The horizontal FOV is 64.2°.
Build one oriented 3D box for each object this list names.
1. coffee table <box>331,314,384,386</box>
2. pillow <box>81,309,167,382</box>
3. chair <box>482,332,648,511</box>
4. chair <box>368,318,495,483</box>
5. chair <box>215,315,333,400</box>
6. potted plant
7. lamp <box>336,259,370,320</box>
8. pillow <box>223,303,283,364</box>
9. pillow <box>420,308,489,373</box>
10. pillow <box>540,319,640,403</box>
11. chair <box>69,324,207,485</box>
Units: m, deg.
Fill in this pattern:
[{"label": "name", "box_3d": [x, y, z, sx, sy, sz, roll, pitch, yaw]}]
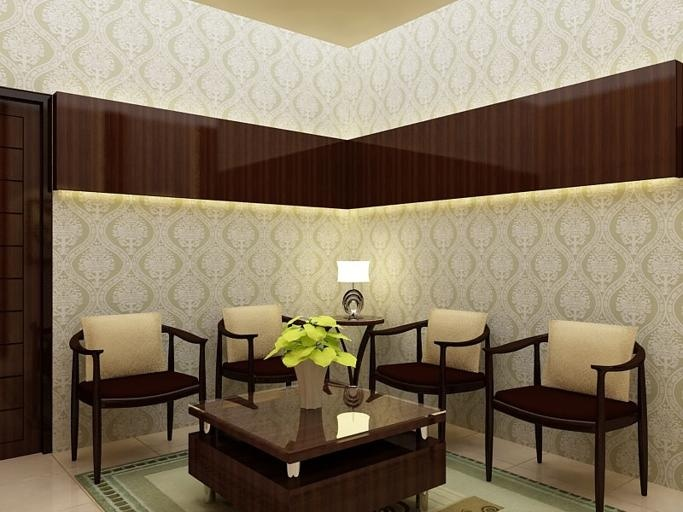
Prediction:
[{"label": "coffee table", "box_3d": [0.115, 1.005, 5.913, 0.722, 0.845, 0.748, 5, -6, -19]}, {"label": "pillow", "box_3d": [-1.985, 0.818, 4.915, 0.592, 0.515, 0.195, -1, -13, -33]}, {"label": "chair", "box_3d": [1.836, 1.225, 4.678, 1.148, 1.515, 1.410, 9, -10, -39]}, {"label": "chair", "box_3d": [0.865, 1.188, 5.314, 0.874, 1.276, 1.163, 0, -1, -39]}, {"label": "chair", "box_3d": [-0.729, 1.142, 5.643, 1.017, 1.149, 0.907, 6, -8, -42]}, {"label": "potted plant", "box_3d": [-0.273, 0.804, 4.390, 0.650, 0.662, 0.748, 2, -5, -32]}, {"label": "lamp", "box_3d": [0.145, 0.349, 6.277, 0.368, 0.627, 0.783, -1, 3, 2]}, {"label": "pillow", "box_3d": [-0.900, 0.798, 5.513, 0.538, 0.521, 0.186, 3, -15, -32]}, {"label": "pillow", "box_3d": [1.097, 0.823, 5.390, 0.612, 0.604, 0.216, 0, -13, 40]}, {"label": "pillow", "box_3d": [2.026, 0.863, 4.525, 0.706, 0.596, 0.331, 1, 6, 45]}, {"label": "chair", "box_3d": [-1.797, 1.261, 4.912, 0.833, 1.129, 1.048, -6, -4, 43]}]
